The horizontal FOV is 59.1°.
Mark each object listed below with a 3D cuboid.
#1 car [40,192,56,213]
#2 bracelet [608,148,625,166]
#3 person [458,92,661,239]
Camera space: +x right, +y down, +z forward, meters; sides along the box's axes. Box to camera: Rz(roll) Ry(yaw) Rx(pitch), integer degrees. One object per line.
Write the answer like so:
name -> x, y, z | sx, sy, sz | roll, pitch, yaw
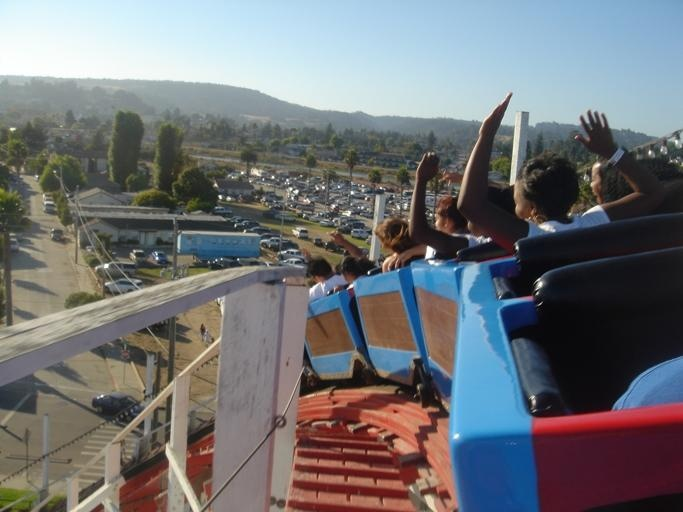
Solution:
car -> -27.016, -4.771, 55.940 | 0.812, 0.836, 2.436 | -2, 17, -19
bracelet -> 1.314, -0.480, 2.884 | 0.031, 0.084, 0.085 | 35, -20, 7
person -> 0.883, -0.355, 2.476 | 0.448, 0.576, 1.430 | 14, 15, 40
